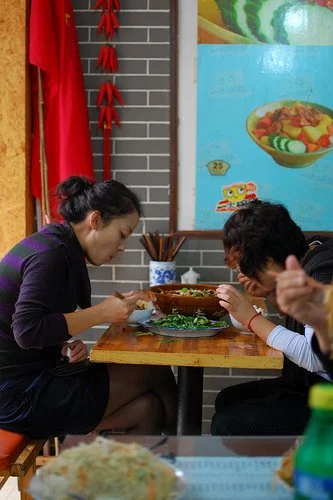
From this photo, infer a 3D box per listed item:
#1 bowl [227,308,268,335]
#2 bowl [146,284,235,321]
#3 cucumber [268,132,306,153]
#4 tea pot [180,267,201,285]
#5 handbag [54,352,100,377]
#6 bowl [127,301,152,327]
[{"bbox_3d":[0.273,0.225,1.404,0.108,0.060,0.106,-1,6,0],"label":"bowl"},{"bbox_3d":[0.057,0.157,1.591,0.349,0.113,0.314,-4,10,-18],"label":"bowl"},{"bbox_3d":[0.658,-0.577,2.248,0.178,0.091,0.046,27,1,5],"label":"cucumber"},{"bbox_3d":[0.117,0.132,2.175,0.065,0.091,0.112,7,12,26],"label":"tea pot"},{"bbox_3d":[-0.307,0.389,1.405,0.151,0.049,0.144,-1,5,-15],"label":"handbag"},{"bbox_3d":[-0.094,0.232,1.510,0.084,0.047,0.082,-1,6,0],"label":"bowl"}]
